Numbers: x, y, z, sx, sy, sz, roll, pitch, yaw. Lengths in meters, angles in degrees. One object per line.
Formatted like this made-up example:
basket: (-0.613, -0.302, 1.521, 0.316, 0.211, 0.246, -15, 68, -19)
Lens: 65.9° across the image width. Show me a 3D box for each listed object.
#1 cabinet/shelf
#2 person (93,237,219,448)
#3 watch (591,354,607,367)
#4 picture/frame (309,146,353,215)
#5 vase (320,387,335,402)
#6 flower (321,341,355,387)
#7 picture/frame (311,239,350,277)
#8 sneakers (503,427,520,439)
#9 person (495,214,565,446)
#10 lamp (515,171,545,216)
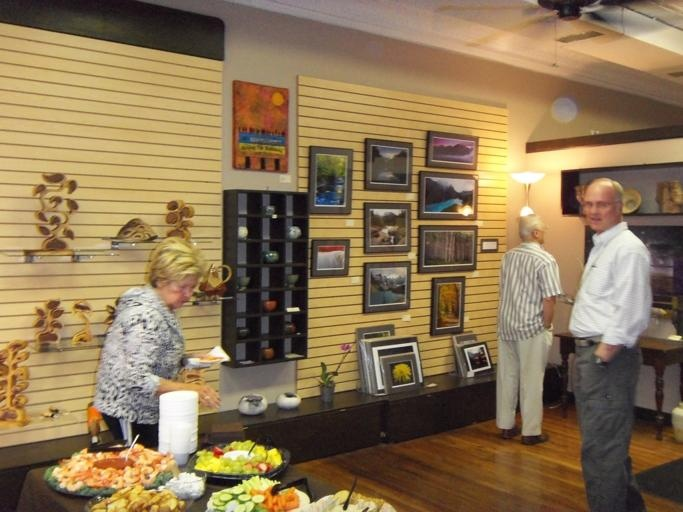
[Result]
cabinet/shelf: (-0.800, 0.207, 5.196, 0.864, 1.683, 0.411, -1, 3, -42)
person: (-1.047, 0.512, 2.955, 0.622, 1.222, 0.429, 0, 2, -21)
watch: (1.717, 0.706, 3.512, 0.090, 0.029, 0.057, 25, -22, 10)
picture/frame: (-0.130, -0.807, 5.691, 0.526, 0.723, 0.065, -1, 3, -35)
vase: (-0.152, 1.444, 5.462, 0.187, 0.141, 0.170, 0, -3, 15)
flower: (-0.080, 1.195, 5.713, 0.286, 0.425, 0.514, 1, 2, 13)
picture/frame: (-0.145, 0.020, 5.699, 0.566, 0.347, 0.039, -1, 3, -33)
sneakers: (1.855, 1.926, 5.765, 0.088, 0.080, 0.244, 6, 15, 40)
person: (1.964, 0.916, 5.597, 0.640, 2.128, 0.347, 2, 3, 25)
lamp: (2.476, -0.848, 6.992, 0.408, 0.642, 1.073, 2, 2, 19)
